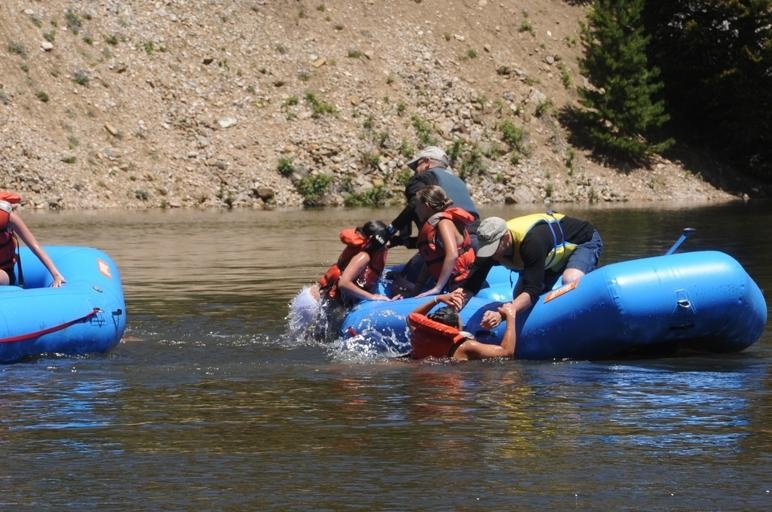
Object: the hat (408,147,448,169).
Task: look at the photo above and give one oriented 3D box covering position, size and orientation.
[{"bbox_3d":[0.740,-1.681,23.227,0.625,0.264,0.401,8,3,8],"label":"hat"}]
